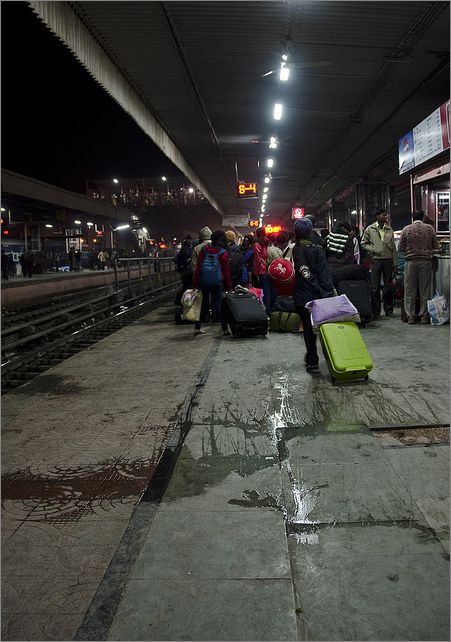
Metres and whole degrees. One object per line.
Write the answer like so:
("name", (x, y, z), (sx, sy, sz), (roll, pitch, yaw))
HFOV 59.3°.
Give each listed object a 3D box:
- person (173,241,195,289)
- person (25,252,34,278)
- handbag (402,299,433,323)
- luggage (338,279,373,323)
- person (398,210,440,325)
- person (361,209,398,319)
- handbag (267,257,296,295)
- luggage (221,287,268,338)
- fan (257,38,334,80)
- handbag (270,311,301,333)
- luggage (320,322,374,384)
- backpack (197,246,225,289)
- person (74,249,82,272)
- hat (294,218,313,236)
("person", (-1.078, -1.514, 10.324), (0.471, 1.389, 1.481), (-3, 5, -6))
("person", (-14.316, -4.191, 28.939), (0.481, 1.808, 1.194), (-5, 5, -27))
("handbag", (3.977, -0.191, 8.308), (0.501, 0.491, 0.418), (0, -5, -3))
("luggage", (2.524, -0.382, 7.570), (0.751, 0.786, 0.206), (1, -12, -3))
("person", (3.879, -1.084, 8.026), (0.714, 2.298, 0.475), (-1, 5, 22))
("person", (3.401, -1.317, 8.701), (0.739, 2.307, 0.534), (1, -2, 8))
("handbag", (0.763, -0.588, 5.238), (0.460, 0.488, 0.252), (1, 6, 36))
("luggage", (0.332, -0.163, 7.390), (0.781, 0.950, 0.599), (-3, 5, -13))
("fan", (1.753, -6.255, 9.806), (1.319, 0.407, 1.688), (-4, 5, -15))
("handbag", (1.177, 0.038, 7.898), (0.547, 0.395, 0.409), (3, 7, 25))
("luggage", (1.359, 0.351, 4.587), (0.481, 0.672, 0.339), (-3, -37, -7))
("backpack", (-0.276, -0.995, 7.485), (0.493, 0.835, 0.484), (0, -3, 10))
("person", (-14.245, -5.846, 38.048), (0.446, 1.929, 0.976), (-5, 5, -27))
("hat", (0.971, -1.186, 4.979), (0.213, 0.264, 0.236), (-2, 5, 7))
